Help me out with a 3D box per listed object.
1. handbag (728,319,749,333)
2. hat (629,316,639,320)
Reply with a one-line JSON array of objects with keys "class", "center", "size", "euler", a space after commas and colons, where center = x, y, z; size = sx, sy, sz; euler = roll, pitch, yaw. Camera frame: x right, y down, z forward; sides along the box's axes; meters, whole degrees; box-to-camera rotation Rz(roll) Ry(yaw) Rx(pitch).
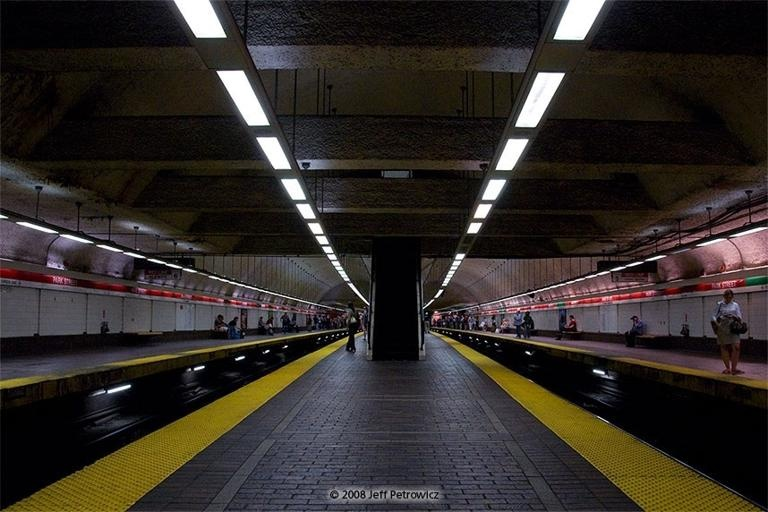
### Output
[{"class": "handbag", "center": [7.605, 1.511, 9.933], "size": [0.659, 0.324, 0.245], "euler": [8, -16, -40]}, {"class": "hat", "center": [12.799, 3.163, 23.824], "size": [0.410, 0.099, 0.365], "euler": [-1, -1, -28]}]
